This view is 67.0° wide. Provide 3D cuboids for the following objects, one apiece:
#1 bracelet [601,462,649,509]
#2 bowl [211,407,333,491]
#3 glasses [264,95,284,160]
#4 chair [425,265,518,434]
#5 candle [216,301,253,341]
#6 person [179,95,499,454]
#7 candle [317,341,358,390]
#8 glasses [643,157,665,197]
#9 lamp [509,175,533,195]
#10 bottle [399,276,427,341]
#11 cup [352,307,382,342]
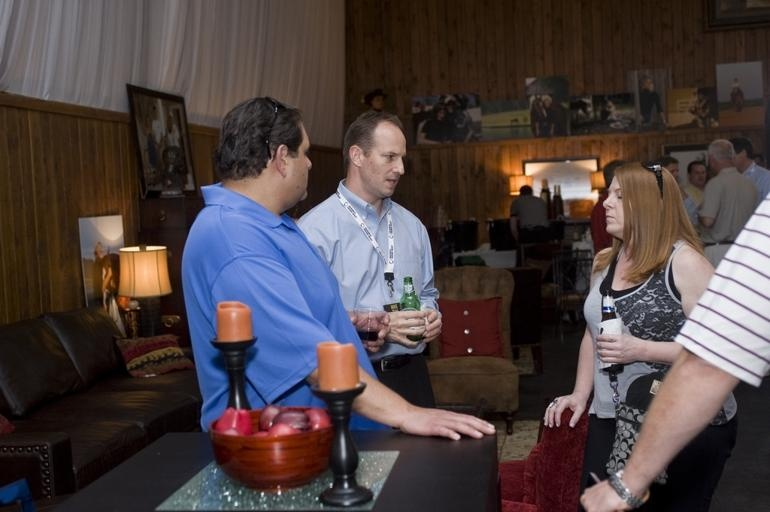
[{"bbox_3d":[0.624,0.604,1.532,0.104,0.042,0.089,30,-14,41],"label":"bracelet"},{"bbox_3d":[-0.327,0.569,1.681,0.371,0.176,0.386,3,-3,0],"label":"bowl"},{"bbox_3d":[-0.390,-0.430,1.976,0.047,0.162,0.155,0,3,-16],"label":"glasses"},{"bbox_3d":[0.742,0.840,5.230,0.804,1.373,0.954,-1,-3,6],"label":"chair"},{"bbox_3d":[-0.452,0.197,1.722,0.102,0.120,0.102,14,18,39],"label":"candle"},{"bbox_3d":[-0.247,0.296,2.144,0.901,1.635,1.132,0,3,-9],"label":"person"},{"bbox_3d":[-0.124,0.280,1.492,0.106,0.127,0.109,-4,1,-28],"label":"candle"},{"bbox_3d":[1.204,-0.349,2.609,0.048,0.149,0.104,-3,7,1],"label":"glasses"},{"bbox_3d":[2.498,-1.328,10.740,0.400,0.328,0.379,-1,3,-5],"label":"lamp"},{"bbox_3d":[0.108,0.231,2.614,0.088,0.291,0.092,-3,-4,0],"label":"bottle"},{"bbox_3d":[-0.079,0.296,2.484,0.120,0.212,0.129,0,-9,0],"label":"cup"}]
